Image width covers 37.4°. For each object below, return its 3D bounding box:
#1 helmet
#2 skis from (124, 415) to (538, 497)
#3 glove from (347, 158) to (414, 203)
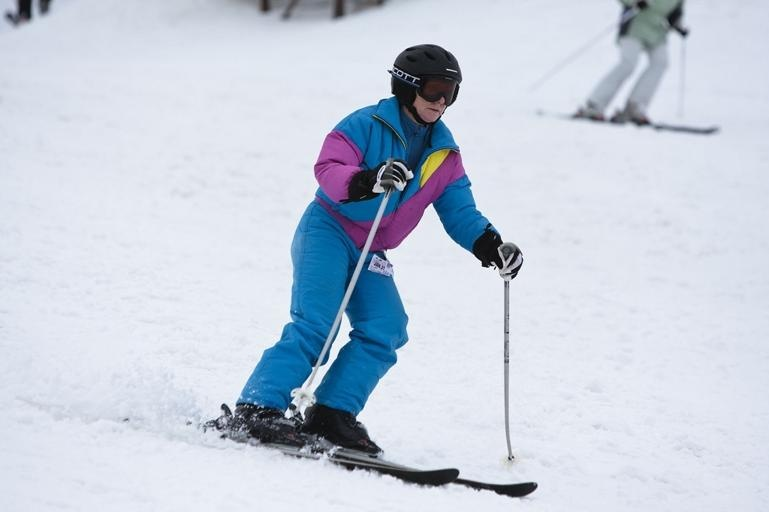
[{"bbox_3d":[0.384,-1.527,9.588,0.565,0.436,0.476,6,8,26],"label":"helmet"},{"bbox_3d":[-0.527,1.632,9.176,2.037,0.170,0.221,12,-6,-2],"label":"skis"},{"bbox_3d":[-0.028,-0.580,9.258,0.463,0.293,0.195,-17,-28,6],"label":"glove"}]
